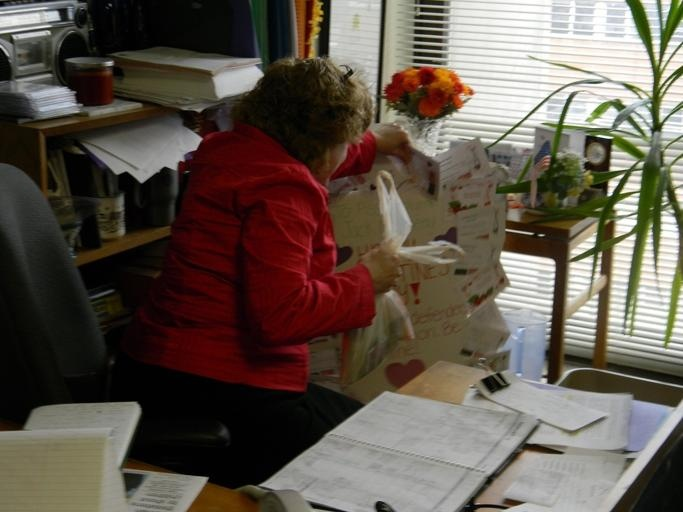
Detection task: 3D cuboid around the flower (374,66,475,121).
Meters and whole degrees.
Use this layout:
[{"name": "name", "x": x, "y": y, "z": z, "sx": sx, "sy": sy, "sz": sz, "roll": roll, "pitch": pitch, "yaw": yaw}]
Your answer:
[{"name": "flower", "x": 0.304, "y": -0.563, "z": 2.127, "sx": 0.306, "sy": 0.168, "sz": 0.265, "roll": 1, "pitch": 27, "yaw": -9}]

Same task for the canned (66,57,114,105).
[{"name": "canned", "x": -0.765, "y": -0.516, "z": 1.766, "sx": 0.131, "sy": 0.125, "sz": 0.162, "roll": 25, "pitch": 32, "yaw": 29}]

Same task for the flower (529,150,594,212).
[{"name": "flower", "x": 0.802, "y": -0.260, "z": 2.239, "sx": 0.253, "sy": 0.235, "sz": 0.190, "roll": -8, "pitch": 28, "yaw": -5}]
